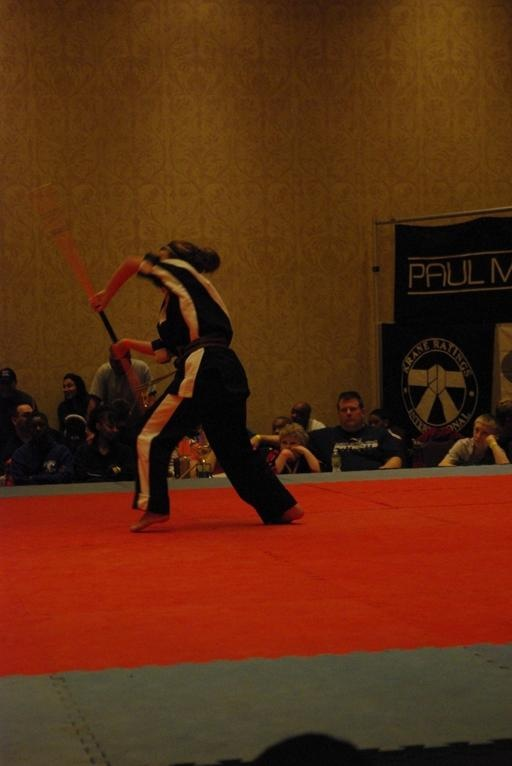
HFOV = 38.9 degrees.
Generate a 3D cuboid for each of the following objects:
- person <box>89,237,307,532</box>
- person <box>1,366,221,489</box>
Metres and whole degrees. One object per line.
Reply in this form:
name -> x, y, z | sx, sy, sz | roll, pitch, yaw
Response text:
person -> -0.425, -0.070, 4.459 | 1.655, 0.888, 2.086 | -6, 40, 9
person -> -0.933, 0.296, 4.423 | 0.999, 0.369, 1.160 | -1, -1, -16
